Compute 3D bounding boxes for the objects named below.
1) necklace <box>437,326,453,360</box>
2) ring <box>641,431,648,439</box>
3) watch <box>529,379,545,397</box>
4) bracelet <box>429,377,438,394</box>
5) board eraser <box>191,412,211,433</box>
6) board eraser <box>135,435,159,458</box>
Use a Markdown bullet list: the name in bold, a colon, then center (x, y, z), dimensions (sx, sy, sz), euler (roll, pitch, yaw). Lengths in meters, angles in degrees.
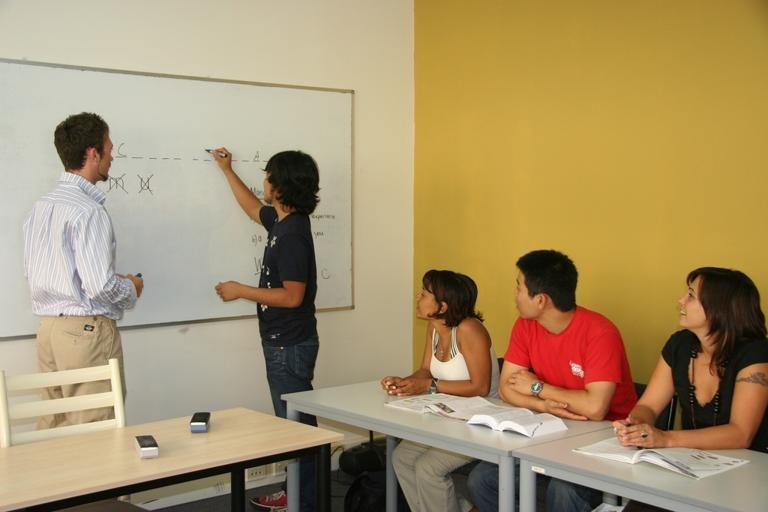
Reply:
- **necklace**: center (0.324, 0.474, 3.009), dimensions (0.106, 0.155, 0.040), euler (4, 4, 40)
- **ring**: center (0.985, 0.677, 2.100), dimensions (0.022, 0.013, 0.021), euler (0, 4, 0)
- **watch**: center (0.712, 0.615, 2.585), dimensions (0.049, 0.070, 0.076), euler (11, 32, 29)
- **bracelet**: center (0.258, 0.681, 2.895), dimensions (0.044, 0.059, 0.021), euler (-11, -29, 41)
- **board eraser**: center (-0.764, 0.683, 2.285), dimensions (0.056, 0.028, 0.118), euler (0, 5, -3)
- **board eraser**: center (-0.874, 0.700, 2.041), dimensions (0.049, 0.027, 0.101), euler (0, 2, -21)
